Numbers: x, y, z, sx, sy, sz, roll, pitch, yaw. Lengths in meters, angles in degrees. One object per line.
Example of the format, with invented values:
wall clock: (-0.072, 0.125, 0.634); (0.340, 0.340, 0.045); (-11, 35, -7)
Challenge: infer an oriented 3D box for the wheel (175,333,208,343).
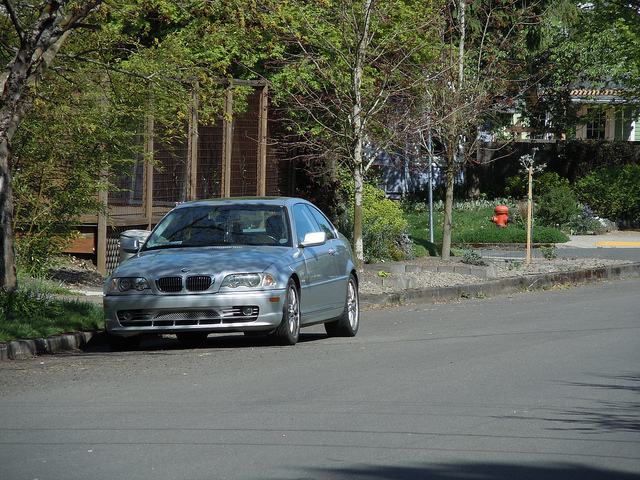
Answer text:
wheel: (-1.914, 1.448, 11.236); (0.332, 0.107, 0.506); (2, 3, 9)

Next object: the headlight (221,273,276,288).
headlight: (-0.917, 0.512, 9.579); (0.673, 0.181, 0.071); (1, 3, -8)

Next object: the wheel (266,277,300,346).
wheel: (-0.492, 0.910, 9.792); (0.267, 0.798, 0.805); (-3, 11, 11)

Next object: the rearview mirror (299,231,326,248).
rearview mirror: (-0.104, -0.004, 10.422); (0.356, 0.229, 0.248); (1, 3, -4)

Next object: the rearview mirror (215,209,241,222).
rearview mirror: (-1.334, -0.346, 10.743); (0.348, 0.170, 0.145); (1, 3, -9)

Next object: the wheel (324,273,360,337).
wheel: (0.314, 0.988, 11.248); (0.326, 1.007, 1.018); (-5, -2, 20)

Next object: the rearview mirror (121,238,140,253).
rearview mirror: (-2.709, 0.077, 10.696); (0.233, 0.212, 0.284); (0, 3, -16)

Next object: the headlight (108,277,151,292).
headlight: (-2.478, 0.573, 9.657); (0.628, 0.206, 0.137); (3, 3, 33)

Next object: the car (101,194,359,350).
car: (-1.150, 0.461, 10.420); (3.603, 2.137, 2.028); (0, 3, -22)
